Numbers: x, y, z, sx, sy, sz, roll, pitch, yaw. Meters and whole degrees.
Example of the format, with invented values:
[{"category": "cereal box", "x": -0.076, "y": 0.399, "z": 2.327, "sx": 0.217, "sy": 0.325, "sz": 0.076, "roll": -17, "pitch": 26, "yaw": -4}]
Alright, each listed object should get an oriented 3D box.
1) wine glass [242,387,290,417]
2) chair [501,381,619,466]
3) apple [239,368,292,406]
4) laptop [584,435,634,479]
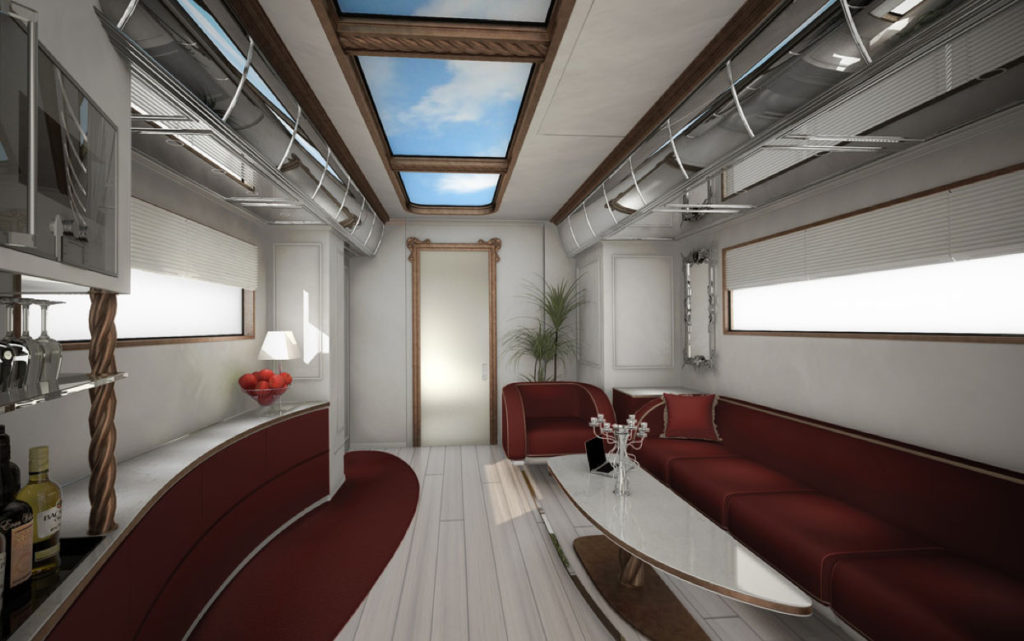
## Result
[{"category": "wine glass", "x": -2.354, "y": 0.777, "z": 5.176, "sx": 0.329, "sy": 0.197, "sz": 0.309, "roll": 0, "pitch": -8, "yaw": -6}, {"category": "chair", "x": 0.449, "y": 1.227, "z": 6.799, "sx": 1.383, "sy": 0.774, "sz": 1.241, "roll": 2, "pitch": 2, "yaw": -18}, {"category": "apple", "x": -2.326, "y": 0.629, "z": 5.174, "sx": 0.417, "sy": 0.260, "sz": 0.394, "roll": 1, "pitch": -7, "yaw": 3}, {"category": "laptop", "x": 0.852, "y": 1.242, "z": 4.955, "sx": 0.326, "sy": 0.271, "sz": 0.393, "roll": 0, "pitch": 0, "yaw": 14}]
